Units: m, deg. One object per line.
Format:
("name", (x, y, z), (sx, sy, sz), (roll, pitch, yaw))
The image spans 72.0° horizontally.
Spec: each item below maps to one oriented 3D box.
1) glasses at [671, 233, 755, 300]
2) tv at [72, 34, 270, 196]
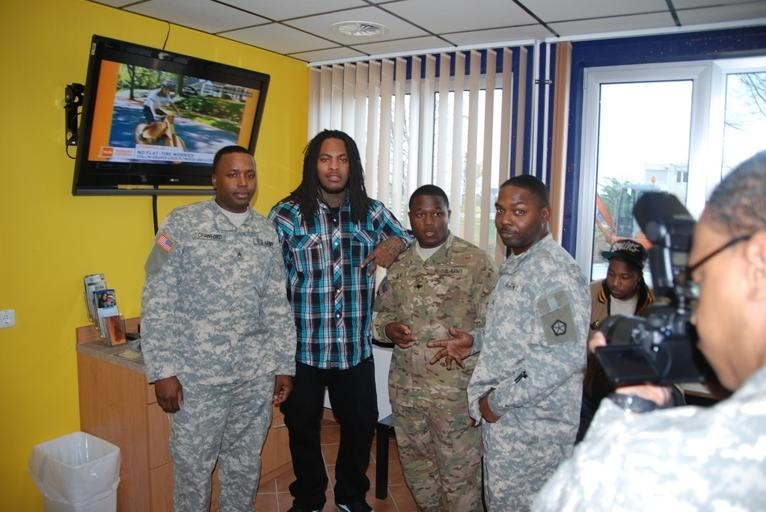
("glasses", (0.513, 0.009, 0.857), (0.105, 0.029, 0.103), (-39, -11, 11))
("tv", (-1.389, -0.881, 3.335), (0.157, 0.925, 1.392), (25, 11, 32))
